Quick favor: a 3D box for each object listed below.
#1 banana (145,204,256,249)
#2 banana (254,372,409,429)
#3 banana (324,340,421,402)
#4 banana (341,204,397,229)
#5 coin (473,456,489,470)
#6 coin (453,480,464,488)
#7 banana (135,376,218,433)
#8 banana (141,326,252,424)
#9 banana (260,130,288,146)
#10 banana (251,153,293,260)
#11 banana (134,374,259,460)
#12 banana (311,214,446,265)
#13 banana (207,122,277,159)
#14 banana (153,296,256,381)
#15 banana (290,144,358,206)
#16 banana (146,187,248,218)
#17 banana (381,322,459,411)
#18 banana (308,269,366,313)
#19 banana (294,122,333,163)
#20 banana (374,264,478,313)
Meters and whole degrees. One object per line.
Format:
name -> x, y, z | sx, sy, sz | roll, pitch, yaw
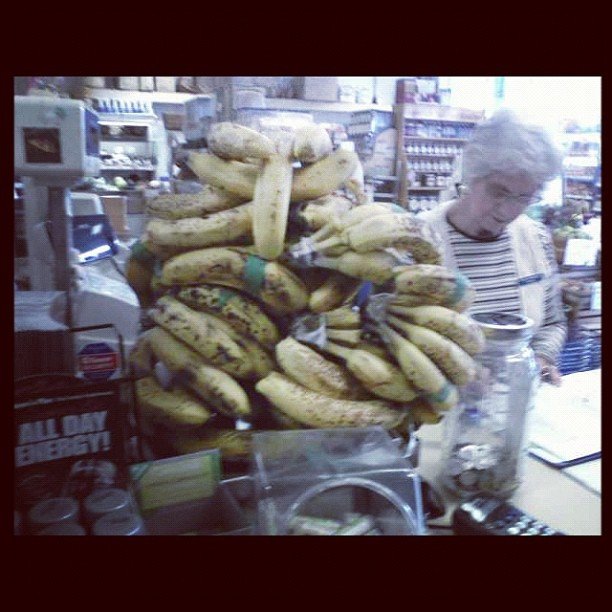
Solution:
banana -> -0.291, -0.240, 1.925 | 0.420, 0.110, 0.102 | -13, 26, -20
banana -> 0.069, 0.320, 1.964 | 0.479, 0.101, 0.146 | 11, 25, 11
banana -> 0.195, 0.192, 1.945 | 0.365, 0.108, 0.107 | 21, 14, -14
banana -> 0.187, -0.270, 1.868 | 0.159, 0.069, 0.019 | 0, 15, -5
coin -> 0.566, 0.499, 1.985 | 0.044, 0.013, 0.047 | -1, 50, 1
coin -> 0.488, 0.570, 1.987 | 0.029, 0.025, 0.003 | -1, 15, -7
banana -> -0.482, 0.314, 2.088 | 0.264, 0.118, 0.426 | 4, 7, -27
banana -> -0.345, 0.183, 2.002 | 0.144, 0.135, 0.495 | -43, 66, -16
banana -> -0.094, -0.505, 1.865 | 0.071, 0.041, 0.018 | 3, 14, 8
banana -> -0.101, -0.297, 1.855 | 0.116, 0.294, 0.115 | 7, -1, 30
banana -> -0.327, 0.336, 1.943 | 0.455, 0.134, 0.112 | 23, 12, 2
banana -> 0.250, -0.205, 1.919 | 0.339, 0.090, 0.156 | 0, -6, 1
banana -> -0.194, -0.495, 1.914 | 0.221, 0.074, 0.098 | 8, -11, -1
banana -> -0.304, 0.086, 1.975 | 0.450, 0.107, 0.147 | 31, 56, 31
banana -> 0.033, -0.465, 2.017 | 0.133, 0.124, 0.424 | 12, -3, -11
banana -> -0.331, -0.319, 1.933 | 0.380, 0.068, 0.101 | -3, 12, 2
banana -> 0.345, 0.172, 1.904 | 0.084, 0.286, 0.104 | -42, 1, -38
banana -> 0.086, -0.044, 1.887 | 0.193, 0.091, 0.058 | -26, 0, -4
banana -> 0.004, -0.490, 1.882 | 0.110, 0.071, 0.126 | -8, 44, -24
banana -> 0.369, -0.056, 1.897 | 0.308, 0.142, 0.039 | 1, 14, 2
